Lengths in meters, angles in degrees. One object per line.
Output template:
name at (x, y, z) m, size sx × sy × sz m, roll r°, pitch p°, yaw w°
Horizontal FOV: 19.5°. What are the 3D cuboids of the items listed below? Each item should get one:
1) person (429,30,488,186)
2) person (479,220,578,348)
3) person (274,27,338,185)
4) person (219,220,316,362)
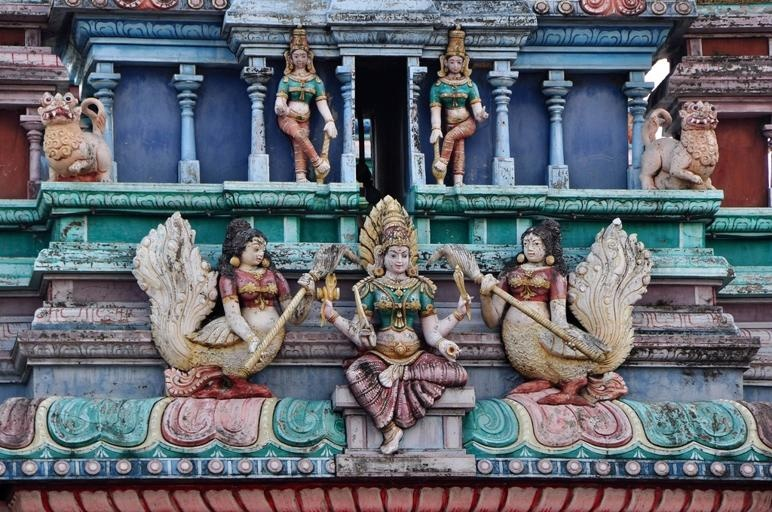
person at (0.844, -1.891, 28.871) m, size 0.663 × 1.988 × 0.617 m, roll -3°, pitch 9°, yaw -7°
person at (1.685, 0.261, 27.778) m, size 1.066 × 1.268 × 0.714 m, roll -2°, pitch 9°, yaw 1°
person at (-1.081, -1.877, 28.690) m, size 0.738 × 1.950 × 0.640 m, roll -2°, pitch 9°, yaw -2°
person at (-1.565, 0.452, 27.406) m, size 0.945 × 1.671 × 1.151 m, roll -4°, pitch 9°, yaw -12°
